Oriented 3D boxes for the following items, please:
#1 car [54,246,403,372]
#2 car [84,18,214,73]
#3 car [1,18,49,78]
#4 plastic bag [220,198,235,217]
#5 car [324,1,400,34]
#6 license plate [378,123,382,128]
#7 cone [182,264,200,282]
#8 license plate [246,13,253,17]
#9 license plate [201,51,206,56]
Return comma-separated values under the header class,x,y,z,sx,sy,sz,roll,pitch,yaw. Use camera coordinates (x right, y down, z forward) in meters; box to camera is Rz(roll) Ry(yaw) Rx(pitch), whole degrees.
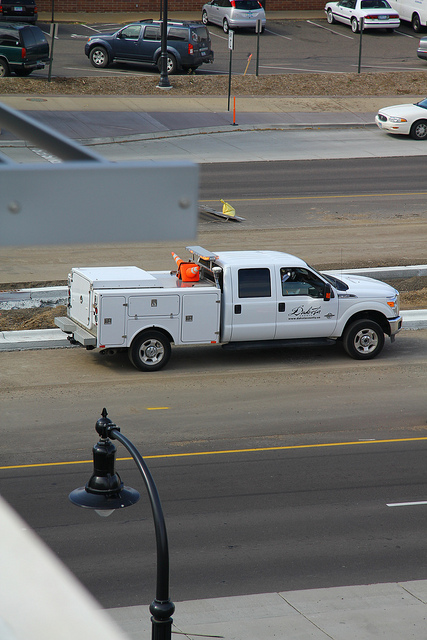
class,x,y,z,sx,sy,sz,roll,pitch,yaw
car,0.176,-0.284,14.820,5.146,1.633,1.978,-4,10,-19
car,-2.789,-11.182,40.448,4.753,2.083,2.450,7,14,17
car,-7.083,-9.915,36.633,1.229,1.866,2.021,7,14,19
plastic bag,0.356,-2.585,22.968,0.378,0.375,0.340,8,-6,-30
car,7.792,-16.661,54.785,2.117,1.825,5.381,-4,14,-26
license plate,5.687,-6.676,34.114,0.064,0.209,0.150,-2,-1,-32
cone,-0.318,-0.667,14.314,0.374,0.244,0.202,0,8,2
license plate,1.810,-15.479,50.511,0.315,0.187,0.108,3,13,4
license plate,-0.427,-10.874,40.628,0.231,0.225,0.114,-3,13,-15
